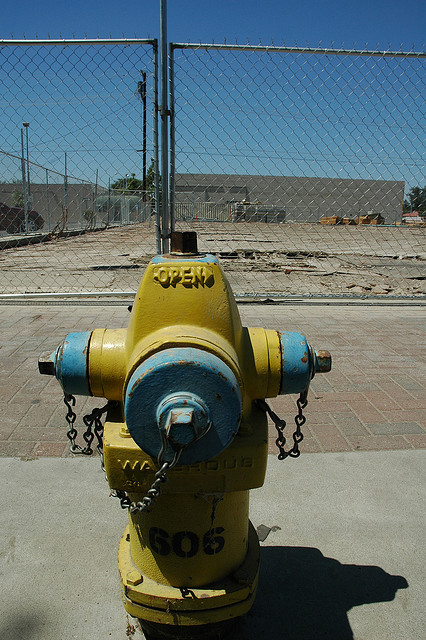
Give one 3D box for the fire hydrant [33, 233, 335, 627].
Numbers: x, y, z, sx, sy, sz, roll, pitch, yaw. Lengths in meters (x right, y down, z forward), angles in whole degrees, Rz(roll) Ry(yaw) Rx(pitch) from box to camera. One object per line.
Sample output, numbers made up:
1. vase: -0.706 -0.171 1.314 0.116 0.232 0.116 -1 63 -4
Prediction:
1. fire hydrant: -0.037 0.302 1.405 0.732 1.005 0.633 -3 16 -9
